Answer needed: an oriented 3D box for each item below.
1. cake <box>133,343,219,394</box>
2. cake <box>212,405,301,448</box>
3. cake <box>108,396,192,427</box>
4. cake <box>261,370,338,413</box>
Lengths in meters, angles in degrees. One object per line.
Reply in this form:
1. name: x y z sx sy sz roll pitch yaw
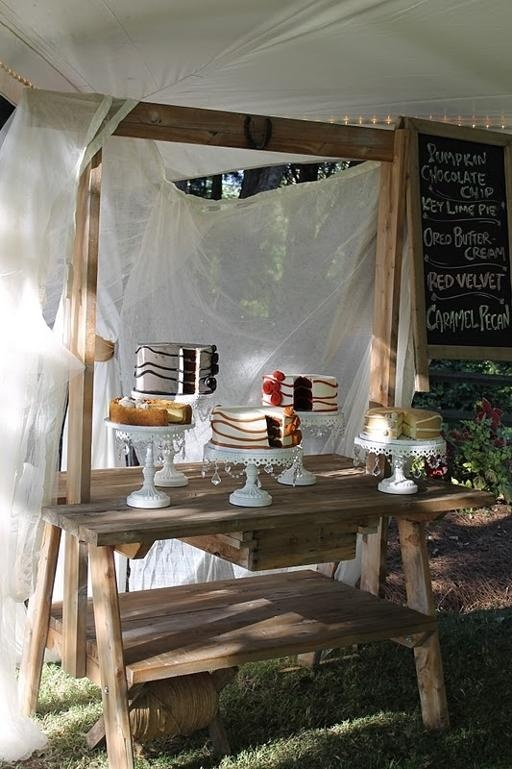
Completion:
1. cake: -0.285 -0.068 2.090 0.217 0.126 0.215 3 2 27
2. cake: -0.003 0.141 1.993 0.220 0.140 0.270 -1 -5 30
3. cake: -0.353 0.092 1.973 0.238 0.092 0.182 0 -4 22
4. cake: 0.168 0.035 2.398 0.180 0.165 0.356 -2 -5 43
